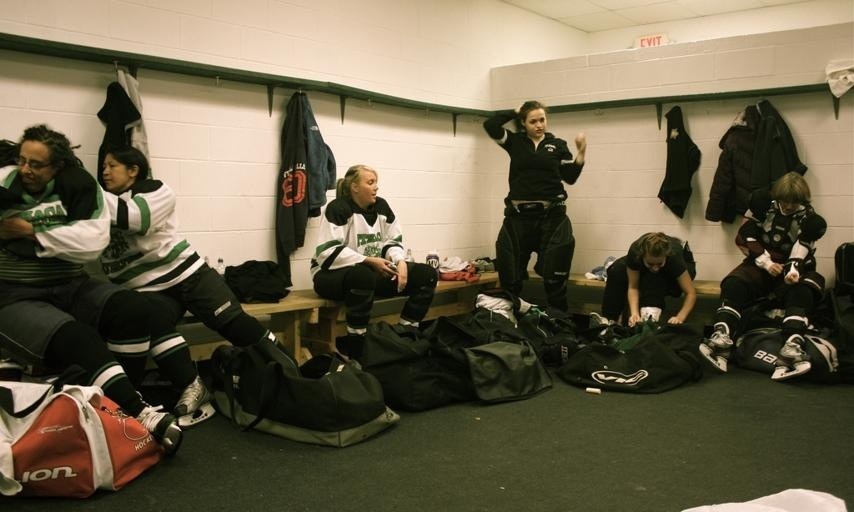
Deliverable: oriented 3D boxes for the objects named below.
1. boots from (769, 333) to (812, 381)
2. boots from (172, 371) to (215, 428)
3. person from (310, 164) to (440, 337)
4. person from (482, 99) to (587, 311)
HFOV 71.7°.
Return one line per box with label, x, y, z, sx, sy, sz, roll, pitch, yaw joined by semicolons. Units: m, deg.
boots;2.881;0.797;4.642;0.248;0.330;0.306;6;14;31
boots;-1.581;1.008;4.144;0.396;0.254;0.141;-29;-18;20
person;-0.500;-0.028;5.045;1.113;1.391;0.992;6;10;17
person;1.034;-0.509;5.851;0.883;2.021;0.755;11;18;44
